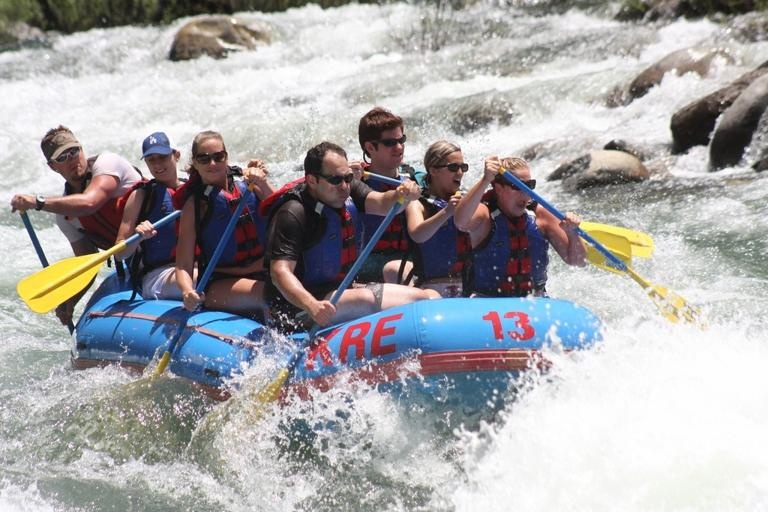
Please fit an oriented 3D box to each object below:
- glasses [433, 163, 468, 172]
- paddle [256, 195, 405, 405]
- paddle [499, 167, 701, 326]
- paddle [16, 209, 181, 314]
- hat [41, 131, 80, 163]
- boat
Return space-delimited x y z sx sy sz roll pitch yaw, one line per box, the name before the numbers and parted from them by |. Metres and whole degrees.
glasses | 0.691 -0.870 9.069 0.144 0.043 0.146 1 -10 -36
paddle | -0.545 0.460 8.767 0.109 0.266 2.398 19 67 38
paddle | 2.424 -0.055 10.153 2.846 0.463 0.188 36 31 3
paddle | -3.014 0.083 9.927 1.989 0.094 0.397 -35 57 8
hat | -3.485 -1.226 9.915 0.313 0.400 0.259 -35 90 -37
boat | -0.642 0.781 8.861 3.666 0.629 1.787 -1 14 13
